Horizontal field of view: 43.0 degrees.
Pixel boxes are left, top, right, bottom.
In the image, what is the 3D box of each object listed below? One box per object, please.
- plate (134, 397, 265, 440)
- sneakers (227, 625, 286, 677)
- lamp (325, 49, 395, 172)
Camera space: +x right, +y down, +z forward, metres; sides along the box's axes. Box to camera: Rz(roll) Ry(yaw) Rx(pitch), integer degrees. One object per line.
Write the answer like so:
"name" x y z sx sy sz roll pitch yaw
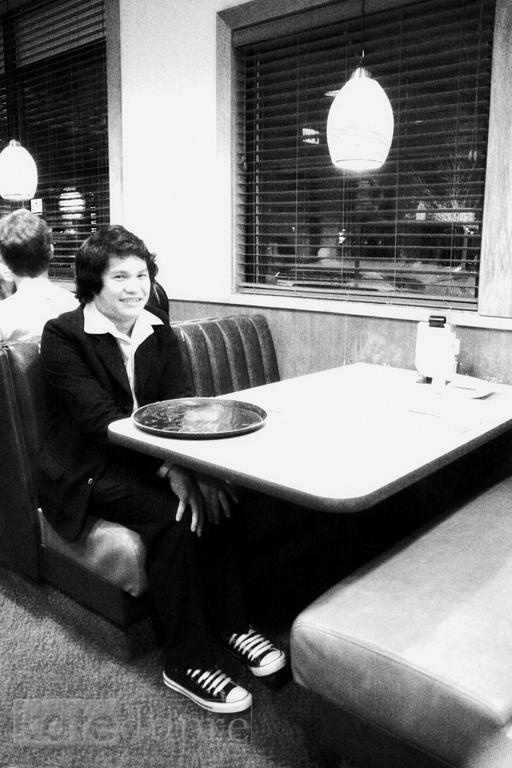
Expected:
"plate" -0.131 0.073 1.412 0.328 0.035 0.315 3 9 28
"sneakers" 0.005 0.622 1.515 0.064 0.085 0.176 -15 1 -30
"lamp" 0.344 -0.818 1.897 0.203 0.351 0.254 1 6 14
